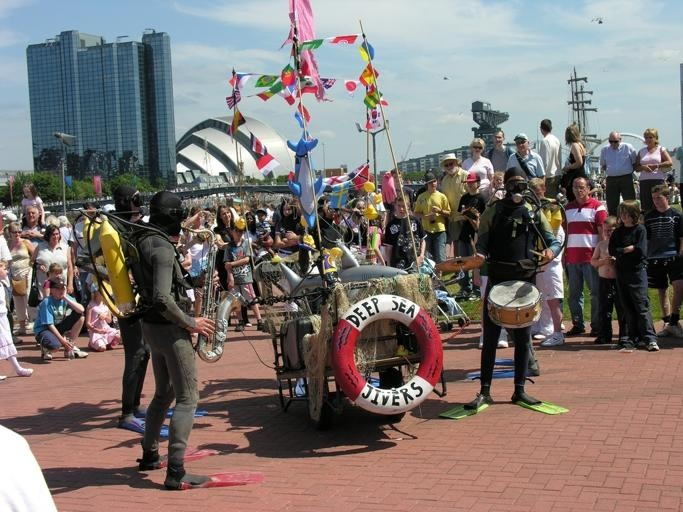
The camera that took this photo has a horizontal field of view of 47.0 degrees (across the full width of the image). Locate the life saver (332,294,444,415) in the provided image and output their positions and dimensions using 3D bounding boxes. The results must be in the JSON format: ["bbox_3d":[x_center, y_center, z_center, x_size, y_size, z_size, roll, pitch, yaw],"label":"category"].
[{"bbox_3d":[0.513,1.027,8.629,1.418,1.247,0.358,0,3,-10],"label":"life saver"}]

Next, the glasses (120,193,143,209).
[{"bbox_3d":[-2.410,-0.648,9.122,0.214,0.146,0.165,-6,3,0],"label":"glasses"}]

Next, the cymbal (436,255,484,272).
[{"bbox_3d":[1.568,0.120,10.210,0.326,0.072,0.332,-20,-23,37],"label":"cymbal"}]

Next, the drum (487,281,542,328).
[{"bbox_3d":[2.041,0.535,9.077,0.647,0.497,0.668,2,4,0],"label":"drum"}]

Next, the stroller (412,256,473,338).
[{"bbox_3d":[1.789,0.797,13.229,0.899,1.439,1.018,9,11,43],"label":"stroller"}]

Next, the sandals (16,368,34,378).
[{"bbox_3d":[-4.933,1.853,12.389,0.242,0.069,0.125,0,13,-7],"label":"sandals"}]
